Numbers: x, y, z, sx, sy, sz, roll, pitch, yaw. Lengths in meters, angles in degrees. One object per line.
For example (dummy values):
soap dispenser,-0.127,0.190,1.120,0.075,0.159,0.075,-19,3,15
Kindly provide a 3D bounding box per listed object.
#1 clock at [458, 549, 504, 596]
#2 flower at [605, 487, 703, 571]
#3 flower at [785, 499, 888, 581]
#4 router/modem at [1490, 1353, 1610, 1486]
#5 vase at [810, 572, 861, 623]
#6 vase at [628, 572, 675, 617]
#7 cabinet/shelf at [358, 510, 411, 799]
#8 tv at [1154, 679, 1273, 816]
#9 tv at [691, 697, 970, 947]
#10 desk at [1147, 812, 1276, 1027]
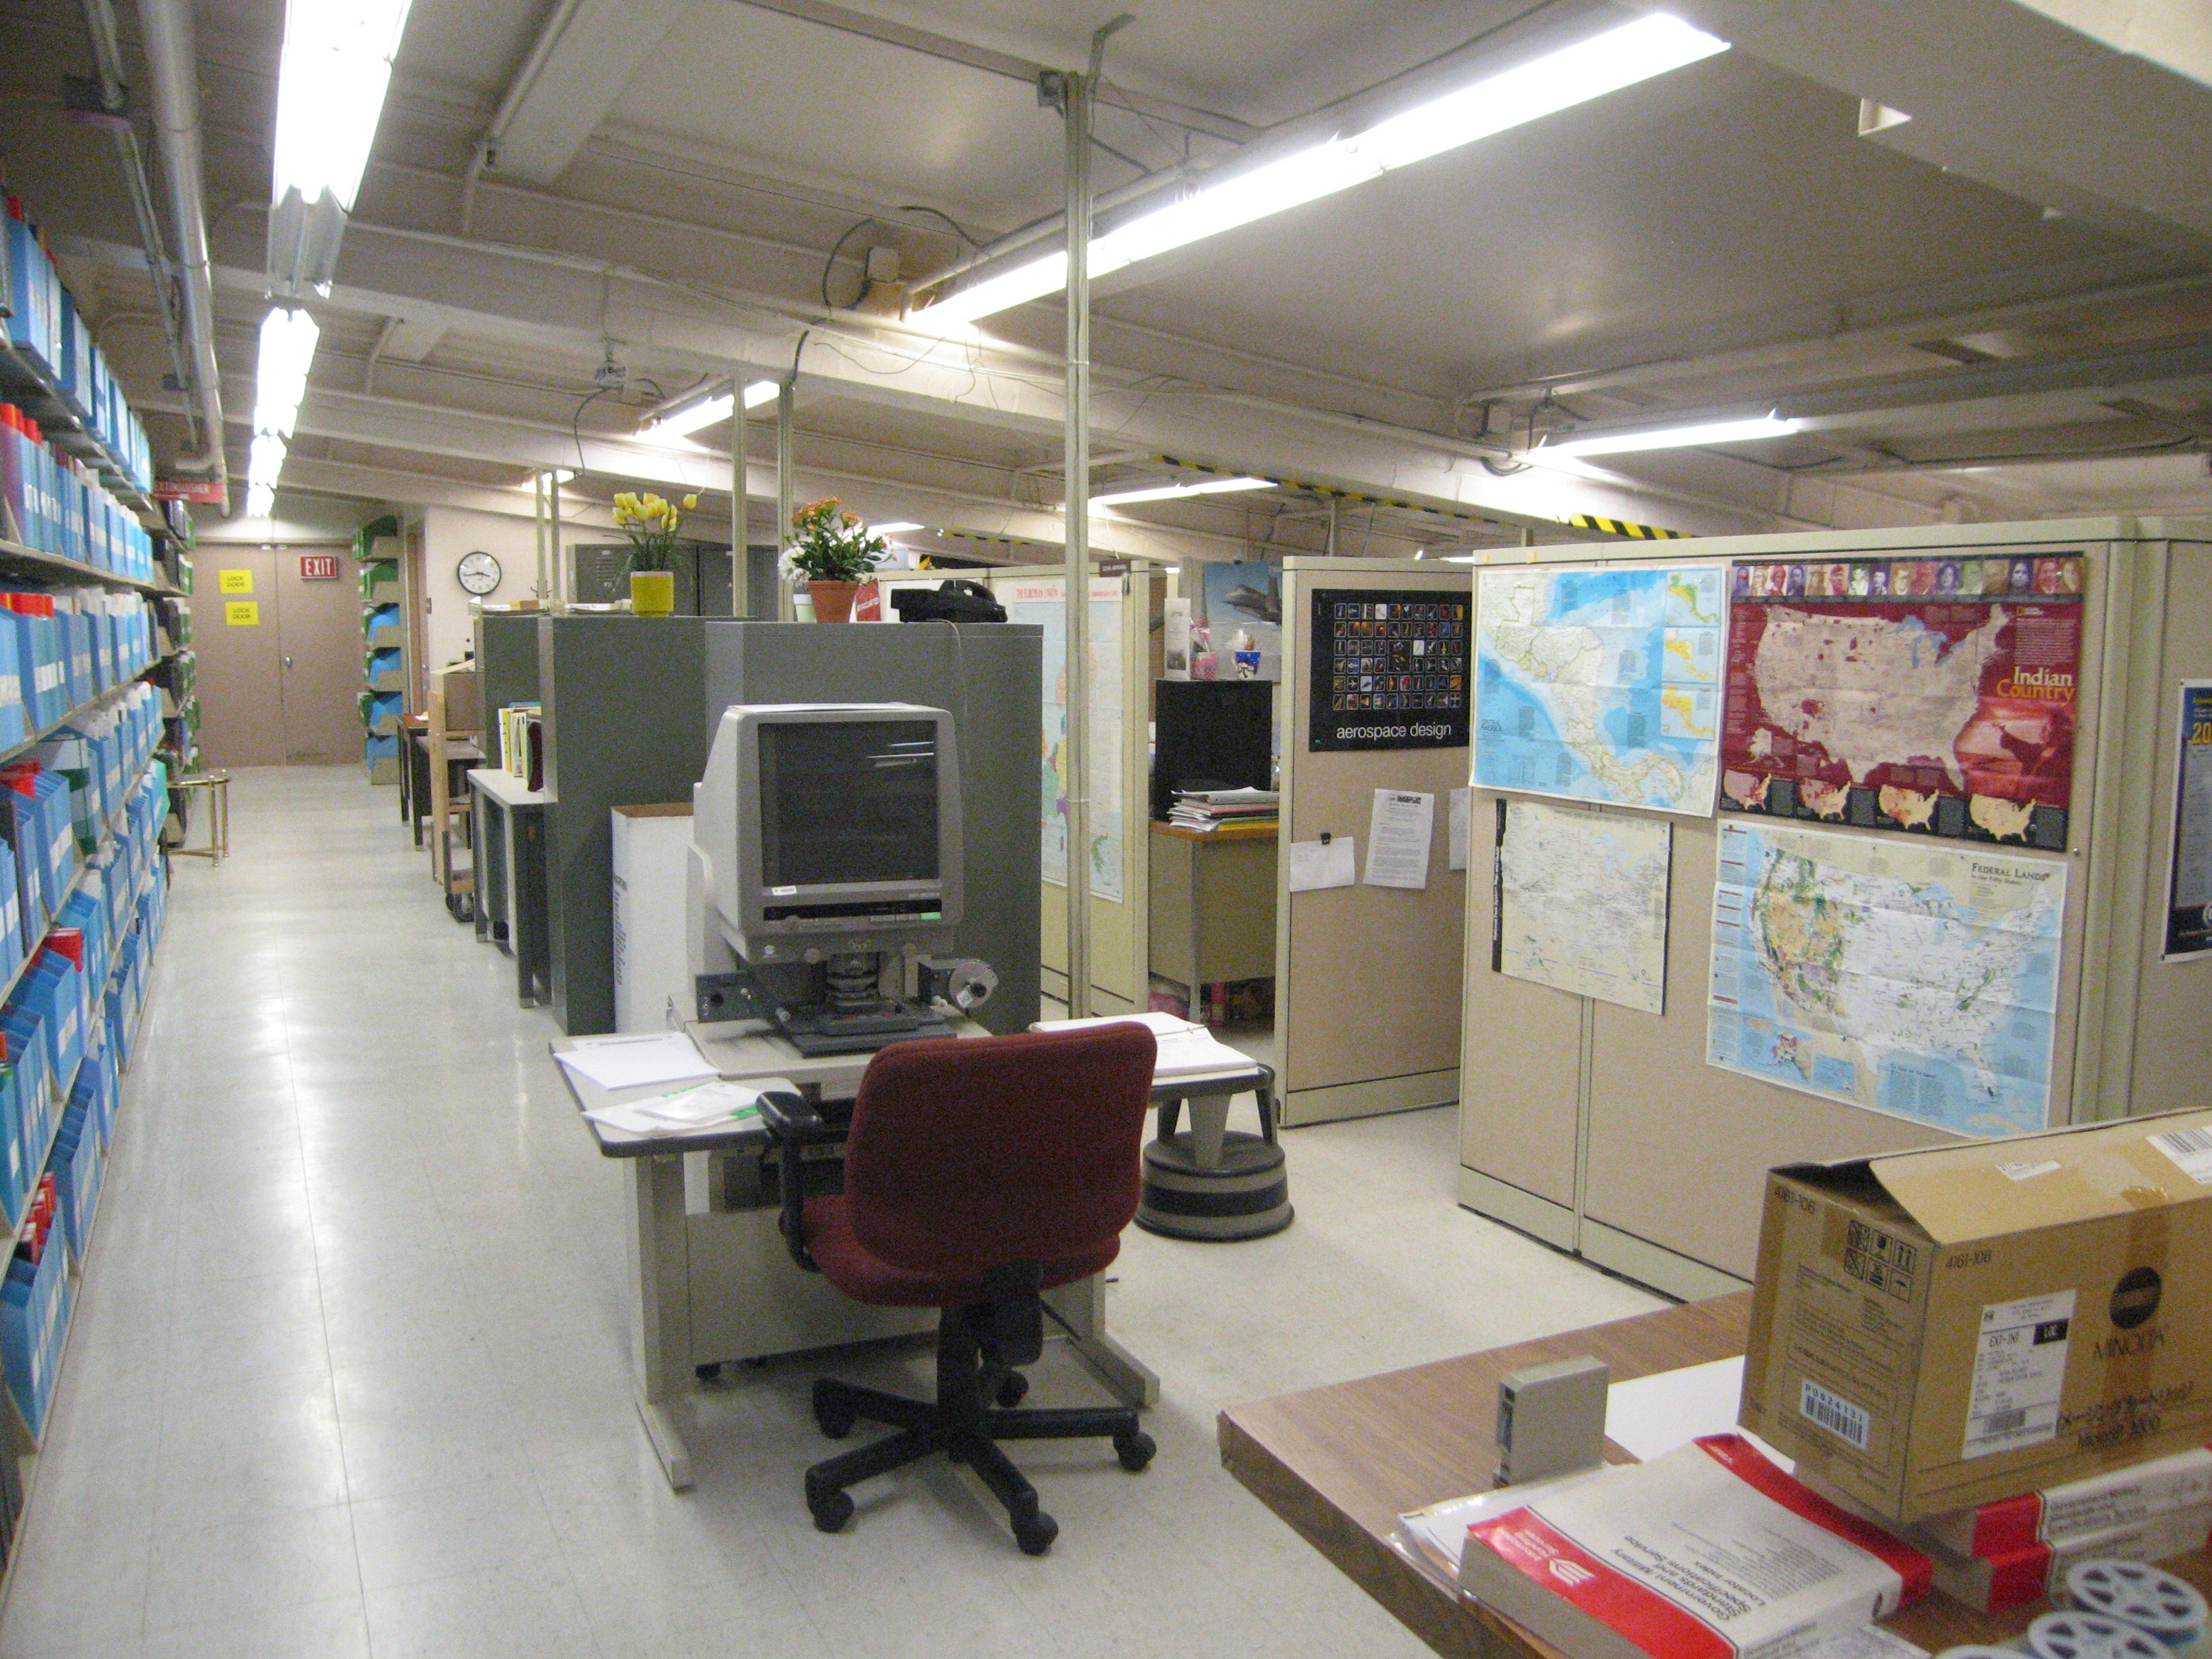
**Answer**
clock,-5.933,-2.377,15.302,0.397,0.392,0.088,-11,10,-37
flower,-1.892,-1.219,6.728,0.244,0.300,0.782,-4,12,-17
flower,-0.851,-0.883,5.062,0.281,0.239,0.305,-2,12,-11
router/modem,0.637,0.847,2.312,0.211,0.192,0.073,-5,5,-23
vase,-0.837,-0.705,4.986,0.141,0.103,0.139,-1,6,-9
vase,-1.870,-0.949,6.664,0.182,0.170,0.162,0,5,-25
cabinet/shelf,-7.851,-1.959,17.611,0.528,2.738,1.751,-5,12,-22
tv,0.464,-0.376,7.058,0.612,0.550,0.138,-4,13,-23
tv,-0.714,-0.010,4.175,0.593,0.591,0.588,-1,0,-24
desk,0.445,0.349,6.847,0.529,0.835,0.302,0,12,2
